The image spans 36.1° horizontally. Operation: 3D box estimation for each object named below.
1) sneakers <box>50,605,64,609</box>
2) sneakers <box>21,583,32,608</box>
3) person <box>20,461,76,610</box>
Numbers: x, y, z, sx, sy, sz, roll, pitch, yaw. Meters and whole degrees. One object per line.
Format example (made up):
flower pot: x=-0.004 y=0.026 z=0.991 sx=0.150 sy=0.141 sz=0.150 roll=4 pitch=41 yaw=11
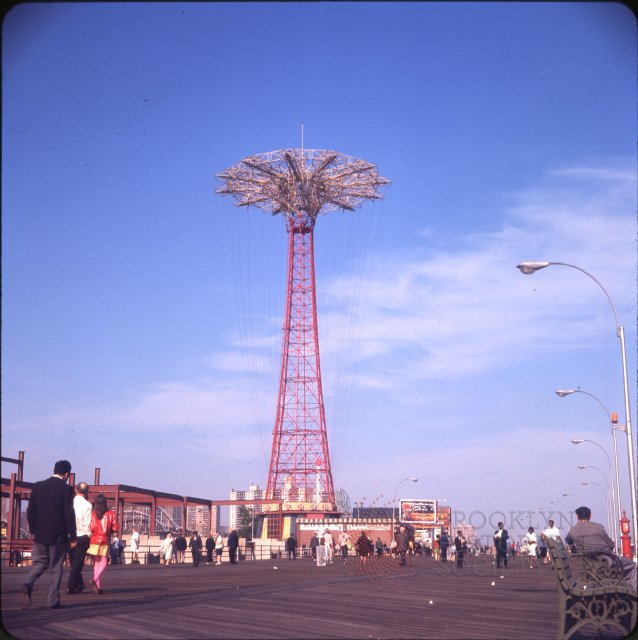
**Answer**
sneakers: x=-3.611 y=3.930 z=13.418 sx=0.158 sy=0.077 sz=0.340 roll=1 pitch=-17 yaw=-14
sneakers: x=-4.000 y=3.762 z=13.379 sx=0.115 sy=0.309 sz=0.443 roll=3 pitch=-16 yaw=-19
person: x=-3.720 y=2.933 z=13.520 sx=0.662 sy=2.022 sz=0.566 roll=3 pitch=-15 yaw=-18
